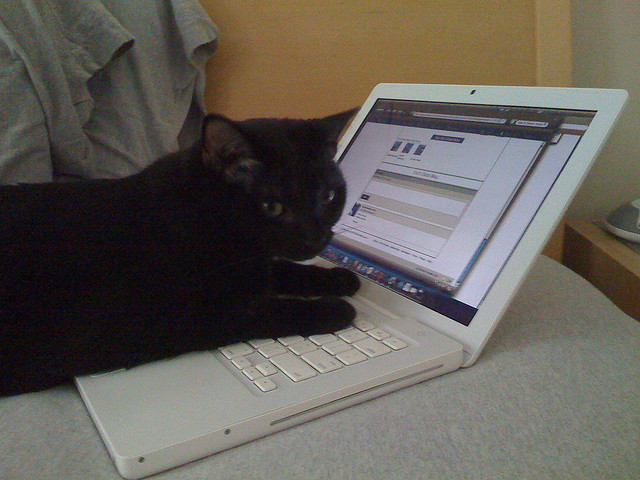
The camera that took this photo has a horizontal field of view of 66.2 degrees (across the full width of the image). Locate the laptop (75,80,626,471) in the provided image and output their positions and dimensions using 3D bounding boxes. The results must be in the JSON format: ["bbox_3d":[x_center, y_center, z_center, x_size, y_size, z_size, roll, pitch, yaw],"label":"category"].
[{"bbox_3d":[0.052,0.007,0.550,0.548,0.191,0.382,-17,27,-34],"label":"laptop"}]
